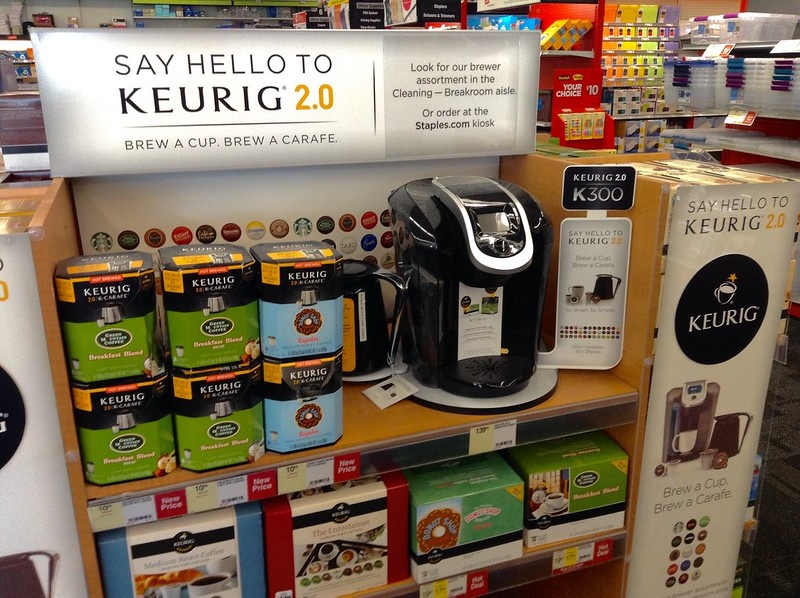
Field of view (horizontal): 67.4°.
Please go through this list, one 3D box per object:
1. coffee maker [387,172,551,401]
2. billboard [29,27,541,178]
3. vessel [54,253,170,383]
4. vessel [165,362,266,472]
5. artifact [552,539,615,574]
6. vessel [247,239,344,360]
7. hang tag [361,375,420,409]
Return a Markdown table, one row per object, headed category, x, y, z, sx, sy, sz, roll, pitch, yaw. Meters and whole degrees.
| category | x | y | z | sx | sy | sz | roll | pitch | yaw |
| --- | --- | --- | --- | --- | --- | --- | --- | --- | --- |
| coffee maker | 0.188 | -0.120 | 1.924 | 0.494 | 0.627 | 0.654 | -10 | 30 | -15 |
| billboard | -0.280 | -0.607 | 1.835 | 1.497 | 0.495 | 0.102 | -10 | 17 | -12 |
| vessel | -0.687 | 0.049 | 1.424 | 0.230 | 0.295 | 0.124 | -15 | 19 | -25 |
| vessel | -0.433 | 0.256 | 1.604 | 0.294 | 0.326 | 0.240 | -3 | 7 | -15 |
| artifact | 0.575 | 0.805 | 1.889 | 0.153 | 0.054 | 0.111 | -4 | 20 | -8 |
| vessel | -0.234 | -0.002 | 1.558 | 0.264 | 0.285 | 0.265 | -3 | 22 | -10 |
| hang tag | -0.024 | 0.283 | 1.802 | 0.157 | 0.016 | 0.122 | -22 | 29 | -37 |
